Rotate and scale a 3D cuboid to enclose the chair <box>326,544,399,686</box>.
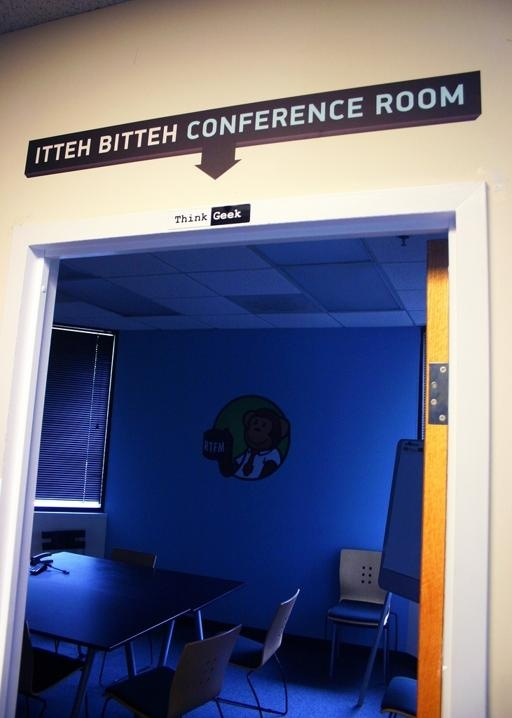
[{"bbox_3d":[0.804,1.927,4.359,0.549,0.838,1.042,2,-9,9],"label":"chair"}]

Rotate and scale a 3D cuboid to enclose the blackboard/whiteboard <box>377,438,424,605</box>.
[{"bbox_3d":[0.632,0.666,2.532,0.171,0.646,0.765,1,-9,16],"label":"blackboard/whiteboard"}]
